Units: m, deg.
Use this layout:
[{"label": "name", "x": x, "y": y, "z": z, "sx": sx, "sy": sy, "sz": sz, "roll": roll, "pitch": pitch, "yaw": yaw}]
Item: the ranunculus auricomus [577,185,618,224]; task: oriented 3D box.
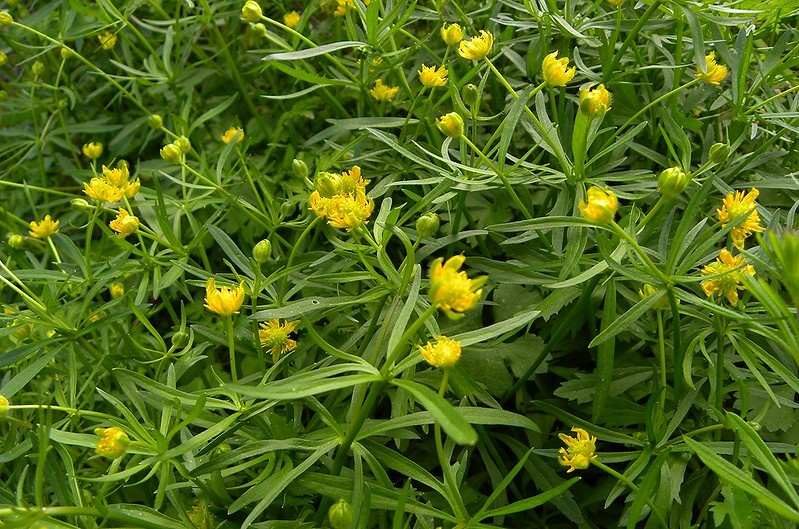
[{"label": "ranunculus auricomus", "x": 0.360, "y": -0.108, "z": 1.249, "sx": 0.060, "sy": 0.057, "sz": 0.053, "roll": 27, "pitch": 67, "yaw": 3}]

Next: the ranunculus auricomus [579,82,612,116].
[{"label": "ranunculus auricomus", "x": 0.385, "y": -0.326, "z": 1.379, "sx": 0.071, "sy": 0.055, "sz": 0.091, "roll": 12, "pitch": 33, "yaw": 22}]

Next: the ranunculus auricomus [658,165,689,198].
[{"label": "ranunculus auricomus", "x": 0.518, "y": -0.155, "z": 1.278, "sx": 0.061, "sy": 0.053, "sz": 0.073, "roll": -3, "pitch": 98, "yaw": -33}]
